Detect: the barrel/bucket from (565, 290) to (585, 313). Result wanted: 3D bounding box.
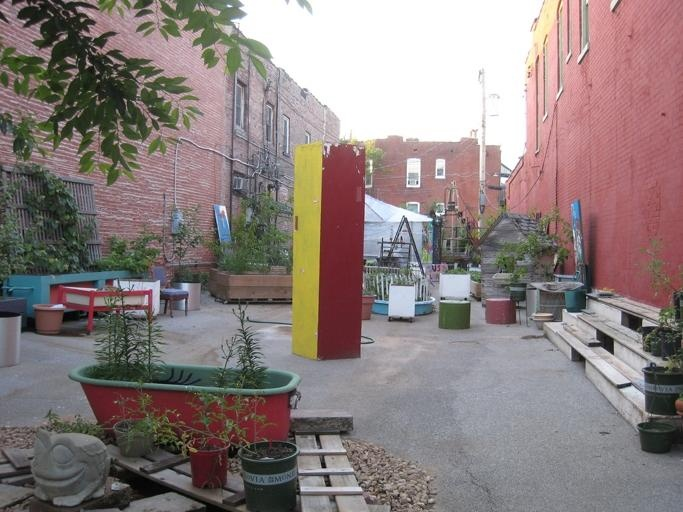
[{"bbox_3d":[4.814,0.922,10.000,0.405,0.426,0.429,0,-5,0],"label":"barrel/bucket"}]

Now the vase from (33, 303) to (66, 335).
[{"bbox_3d":[-5.221,1.140,8.636,0.521,0.437,0.526,2,-5,-6],"label":"vase"}]

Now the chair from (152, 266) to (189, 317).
[{"bbox_3d":[-4.437,0.888,12.300,0.738,1.118,2.393,0,-1,-24],"label":"chair"}]

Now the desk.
[{"bbox_3d":[-3.954,0.864,7.885,1.104,0.657,0.958,0,2,-29],"label":"desk"}]

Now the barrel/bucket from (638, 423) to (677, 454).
[{"bbox_3d":[2.824,1.615,4.341,0.274,0.175,0.274,1,-9,0],"label":"barrel/bucket"}]
